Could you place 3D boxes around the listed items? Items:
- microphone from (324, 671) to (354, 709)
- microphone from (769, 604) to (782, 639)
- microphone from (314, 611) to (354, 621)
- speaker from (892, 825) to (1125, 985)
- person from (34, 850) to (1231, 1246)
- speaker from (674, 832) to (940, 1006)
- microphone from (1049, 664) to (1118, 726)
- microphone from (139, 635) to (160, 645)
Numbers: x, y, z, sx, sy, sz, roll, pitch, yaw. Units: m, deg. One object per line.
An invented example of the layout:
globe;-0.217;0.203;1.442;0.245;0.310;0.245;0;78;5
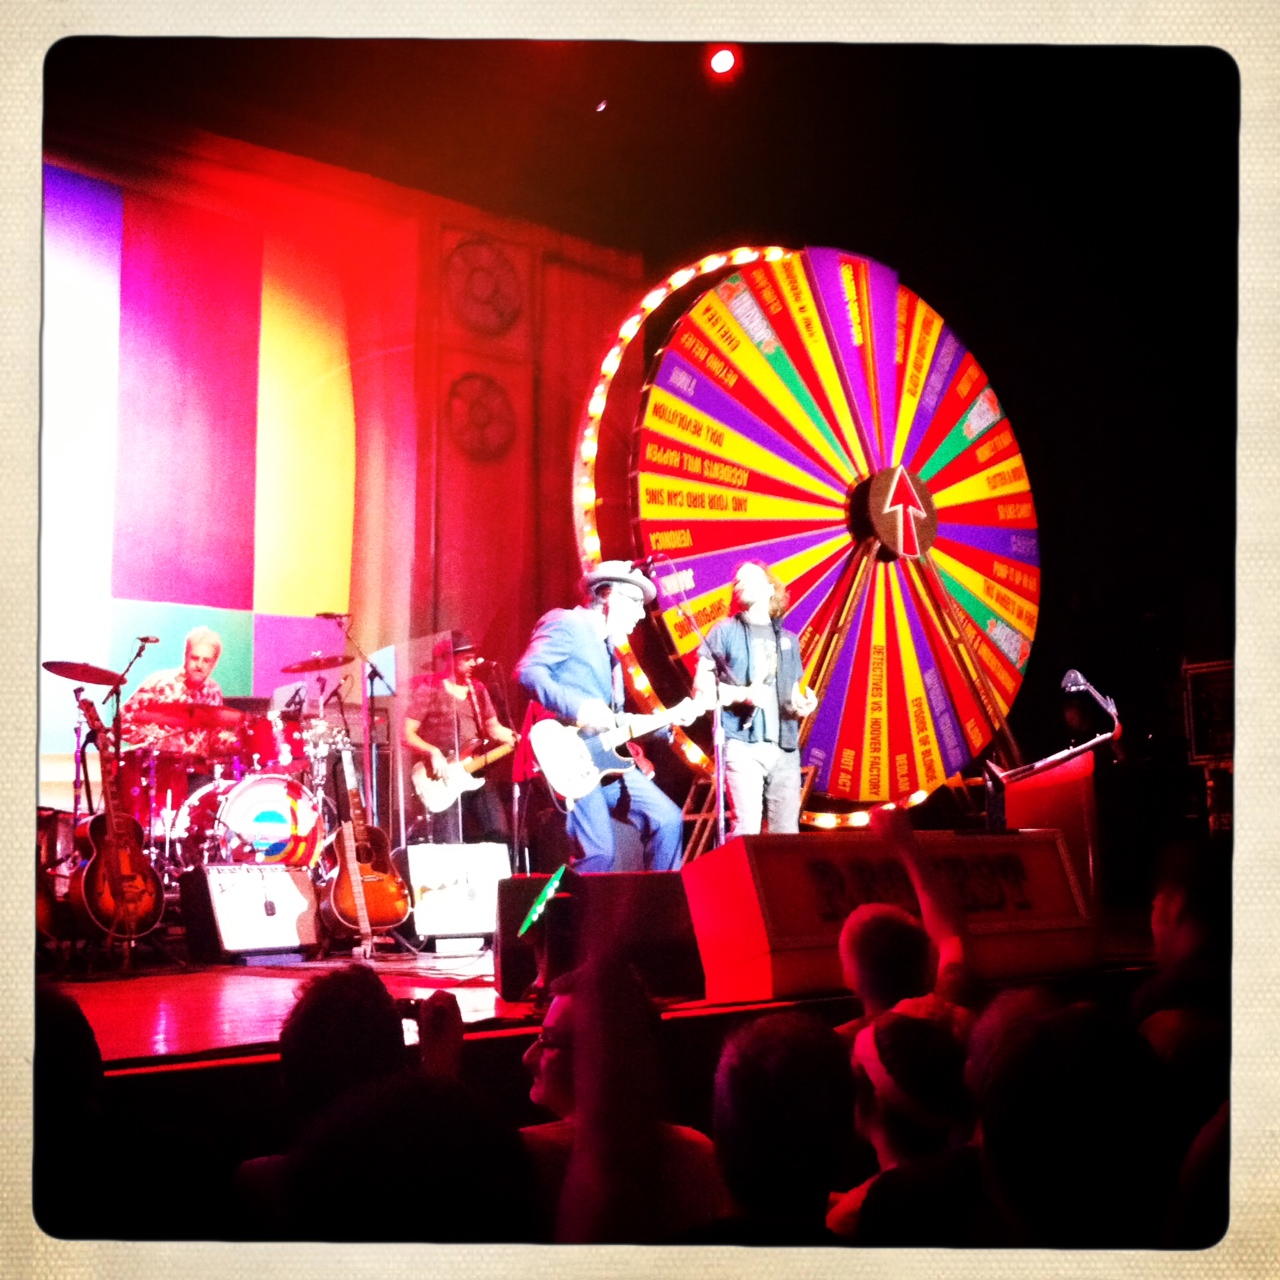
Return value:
microphone;-0.728;0.120;3.025;0.048;0.087;0.082;-1;-10;8
microphone;0.378;-0.054;3.482;0.023;0.069;0.046;1;-39;17
microphone;-0.739;-0.054;3.024;0.088;0.033;0.024;-1;9;-21
speaker;0.921;0.668;3.127;0.483;0.382;0.179;-2;-23;-20
person;0.127;1.025;2.830;2.825;0.875;0.311;-6;-1;-10
speaker;0.364;0.658;2.941;0.480;0.341;0.364;5;-21;-38
microphone;1.226;0.163;3.415;0.037;0.170;0.189;-4;-2;-25
microphone;-1.129;0.002;2.875;0.039;0.014;0.016;0;-4;-22
